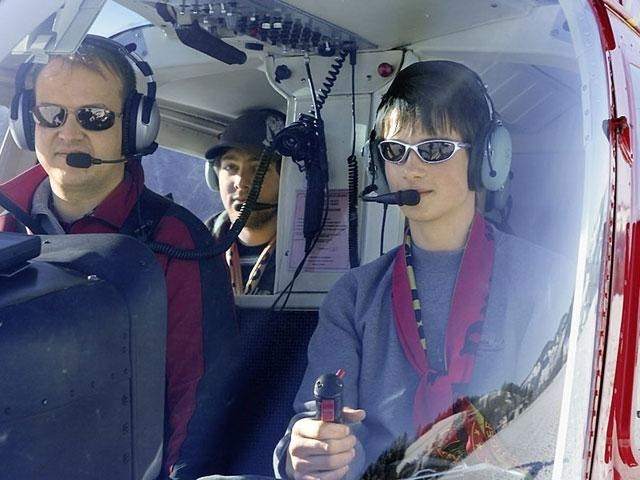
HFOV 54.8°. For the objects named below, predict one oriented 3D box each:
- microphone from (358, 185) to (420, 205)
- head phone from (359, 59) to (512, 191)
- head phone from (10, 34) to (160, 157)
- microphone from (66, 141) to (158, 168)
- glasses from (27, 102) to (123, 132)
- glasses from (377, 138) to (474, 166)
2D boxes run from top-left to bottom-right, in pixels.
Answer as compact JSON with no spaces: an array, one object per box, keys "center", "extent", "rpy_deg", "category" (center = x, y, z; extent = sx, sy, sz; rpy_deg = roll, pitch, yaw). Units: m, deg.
[{"center":[0.155,-0.099,1.365],"extent":[0.061,0.025,0.095],"rpy_deg":[-12,8,-41],"category":"microphone"},{"center":[0.274,-0.241,1.349],"extent":[0.284,0.290,0.134],"rpy_deg":[3,2,30],"category":"head phone"},{"center":[-0.590,-0.369,1.709],"extent":[0.366,0.390,0.284],"rpy_deg":[3,21,7],"category":"head phone"},{"center":[-0.514,-0.219,1.586],"extent":[0.087,0.070,0.294],"rpy_deg":[11,12,19],"category":"microphone"},{"center":[-0.586,-0.295,1.485],"extent":[0.184,0.064,0.058],"rpy_deg":[2,11,-24],"category":"glasses"},{"center":[0.219,-0.197,1.355],"extent":[0.130,0.067,0.153],"rpy_deg":[5,10,31],"category":"glasses"}]
